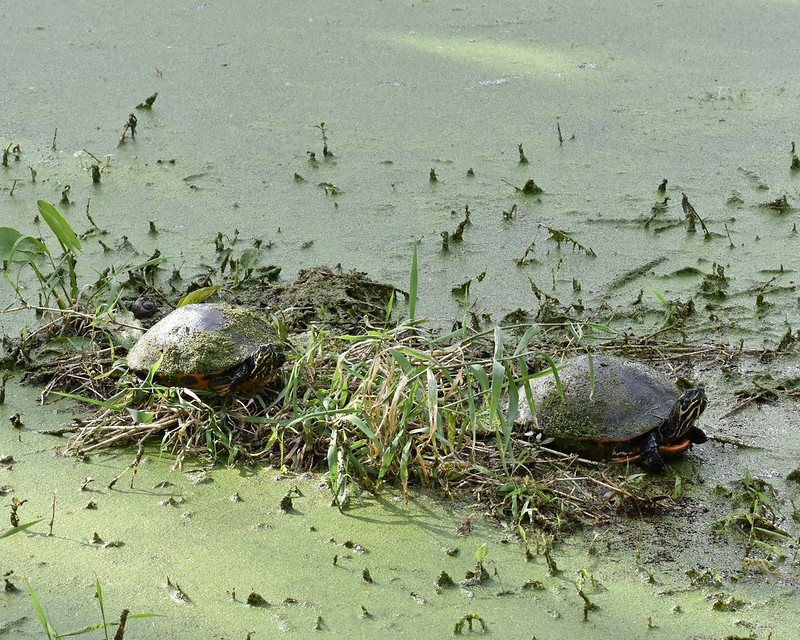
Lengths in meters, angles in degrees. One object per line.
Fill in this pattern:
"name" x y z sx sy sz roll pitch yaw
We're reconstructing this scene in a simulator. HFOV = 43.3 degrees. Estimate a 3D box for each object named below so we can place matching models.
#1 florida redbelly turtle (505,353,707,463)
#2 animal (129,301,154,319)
"florida redbelly turtle" 1.294 0.478 5.945 1.186 0.415 0.875 11 25 40
"animal" -1.802 -0.059 7.053 0.142 0.045 0.142 24 27 3
